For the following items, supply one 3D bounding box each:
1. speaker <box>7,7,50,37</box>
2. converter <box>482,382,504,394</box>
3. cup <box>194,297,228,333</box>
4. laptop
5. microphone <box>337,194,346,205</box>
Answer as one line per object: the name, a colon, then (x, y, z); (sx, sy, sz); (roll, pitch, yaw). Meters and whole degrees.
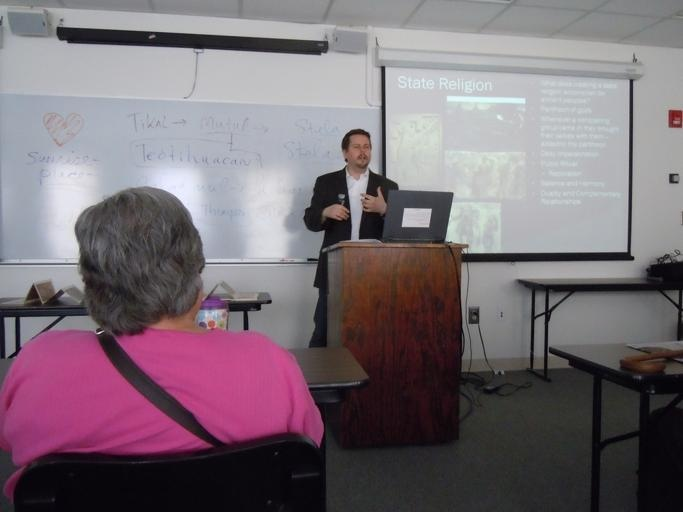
speaker: (-2.254, -1.681, 4.182); (0.248, 0.198, 0.184); (1, 19, -10)
converter: (1.103, 0.971, 4.242); (0.121, 0.034, 0.068); (-2, -1, -30)
cup: (-0.510, 0.232, 2.335); (0.141, 0.160, 0.145); (1, 0, 0)
laptop: (0.437, -0.230, 3.270); (0.379, 0.294, 0.291); (1, 9, -10)
microphone: (0.007, -0.359, 3.601); (0.049, 0.093, 0.087); (0, 5, 2)
